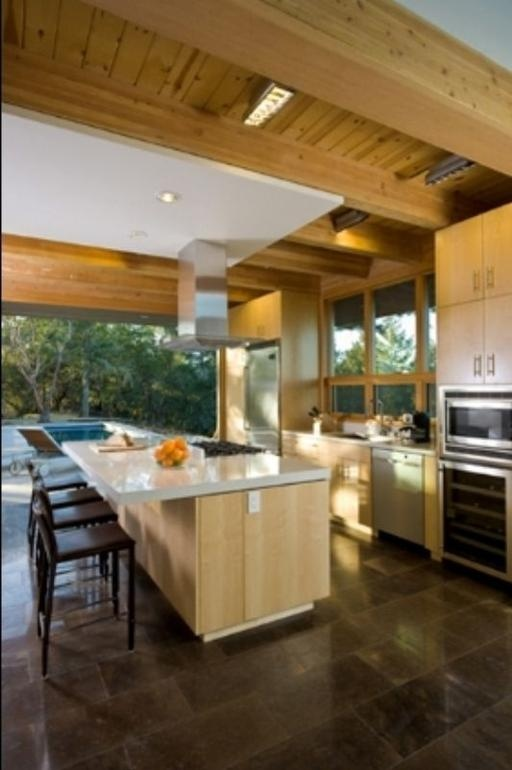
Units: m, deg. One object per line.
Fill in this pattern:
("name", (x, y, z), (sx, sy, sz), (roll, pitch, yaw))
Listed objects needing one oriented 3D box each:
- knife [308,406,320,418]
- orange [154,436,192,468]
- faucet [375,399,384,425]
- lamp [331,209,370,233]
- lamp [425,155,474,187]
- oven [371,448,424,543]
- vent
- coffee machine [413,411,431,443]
("knife", (0.585, 0.279, 5.377), (0.096, 0.051, 0.109), (-14, 6, 27))
("orange", (-0.452, 0.386, 2.963), (0.164, 0.099, 0.163), (-10, -1, 12))
("faucet", (1.104, 0.244, 4.835), (0.066, 0.221, 0.292), (0, 1, 12))
("lamp", (0.612, -1.113, 3.596), (0.126, 0.104, 0.465), (-1, 2, -11))
("lamp", (1.056, -1.193, 2.979), (0.129, 0.090, 0.415), (-1, 2, -16))
("oven", (1.157, 0.786, 4.066), (0.426, 0.635, 0.402), (4, 9, 42))
("vent", (-0.262, -0.617, 3.686), (0.709, 0.638, 0.691), (-6, 10, -35))
("coffee machine", (1.312, 0.332, 4.243), (0.260, 0.226, 0.118), (-1, 2, -39))
